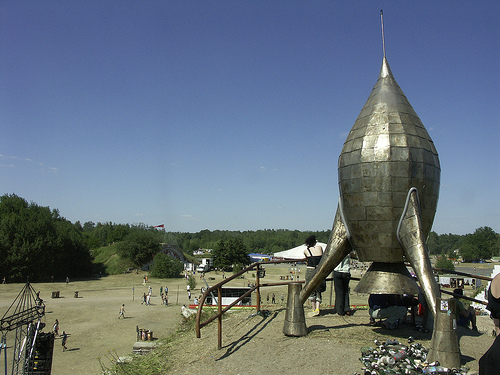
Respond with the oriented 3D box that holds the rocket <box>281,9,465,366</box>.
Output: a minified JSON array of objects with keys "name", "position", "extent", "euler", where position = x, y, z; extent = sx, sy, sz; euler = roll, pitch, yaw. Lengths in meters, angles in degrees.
[{"name":"rocket","position":[3.829,0.548,14.962],"extent":[7.383,14.645,8.031],"euler":[0,-3,0]}]

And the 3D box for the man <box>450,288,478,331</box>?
[{"name":"man","position":[6.846,3.895,11.408],"extent":[0.699,1.412,0.588],"euler":[-9,-7,4]}]

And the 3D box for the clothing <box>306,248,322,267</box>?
[{"name":"clothing","position":[2.070,2.274,11.584],"extent":[0.540,0.833,0.439],"euler":[1,-15,2]}]

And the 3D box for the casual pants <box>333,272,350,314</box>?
[{"name":"casual pants","position":[3.124,3.516,12.031],"extent":[0.601,1.751,0.569],"euler":[1,-47,13]}]

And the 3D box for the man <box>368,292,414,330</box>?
[{"name":"man","position":[4.152,3.666,10.606],"extent":[0.824,1.553,1.153],"euler":[8,-7,-28]}]
